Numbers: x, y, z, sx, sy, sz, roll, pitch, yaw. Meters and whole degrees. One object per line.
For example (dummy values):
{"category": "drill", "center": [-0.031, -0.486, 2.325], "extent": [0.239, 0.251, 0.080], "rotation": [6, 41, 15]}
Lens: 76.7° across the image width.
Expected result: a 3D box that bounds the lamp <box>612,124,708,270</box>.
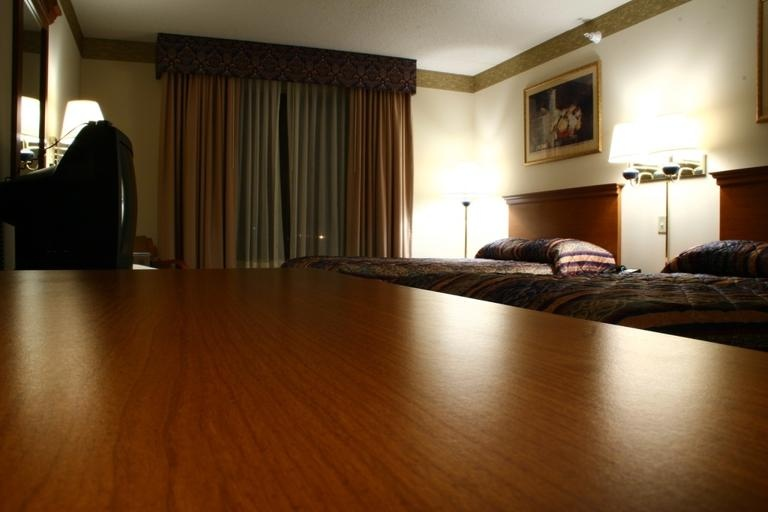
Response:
{"category": "lamp", "center": [1.894, -0.509, 3.413], "extent": [0.438, 0.813, 0.665], "rotation": [2, 2, -18]}
